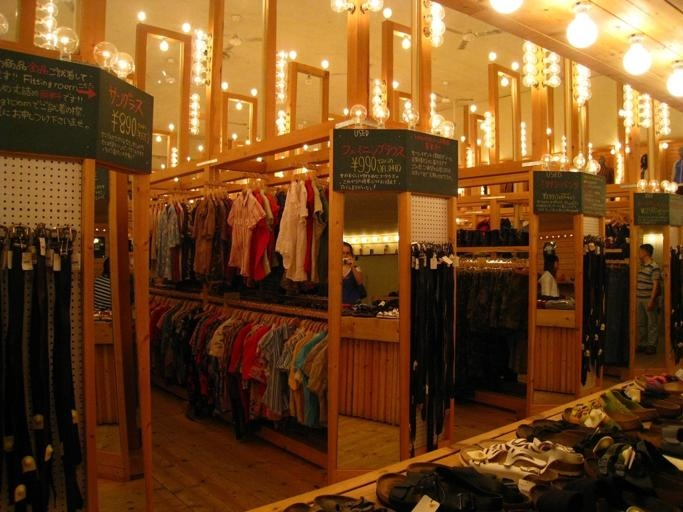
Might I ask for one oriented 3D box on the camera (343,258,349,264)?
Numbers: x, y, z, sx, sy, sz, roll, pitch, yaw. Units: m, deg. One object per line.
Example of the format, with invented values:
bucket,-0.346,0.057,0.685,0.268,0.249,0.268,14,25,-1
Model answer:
camera,0.035,0.047,5.379,0.043,0.087,0.045,2,1,31
